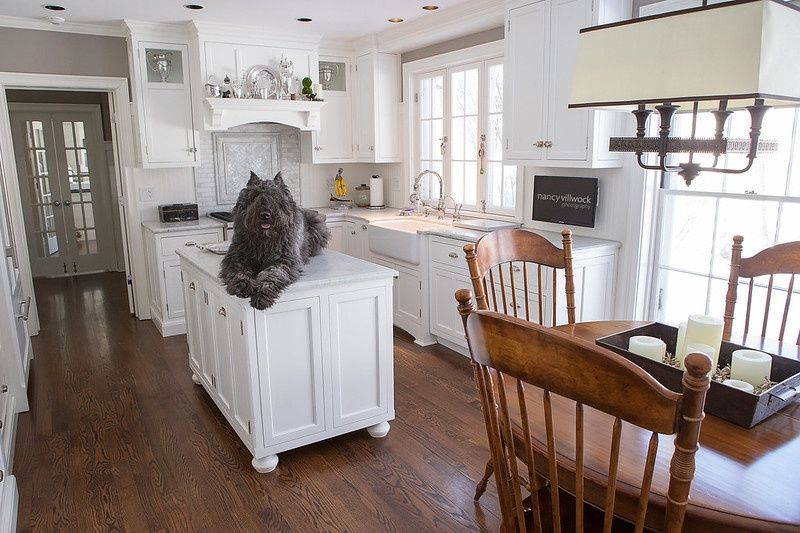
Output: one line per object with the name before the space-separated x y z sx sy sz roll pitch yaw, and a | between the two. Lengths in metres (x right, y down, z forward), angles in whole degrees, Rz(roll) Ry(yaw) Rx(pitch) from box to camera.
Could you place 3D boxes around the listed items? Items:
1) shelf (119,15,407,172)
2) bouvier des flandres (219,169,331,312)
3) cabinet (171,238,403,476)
shelf | -1.380 -1.791 5.375 2.658 1.377 0.571 -7 15 -23
bouvier des flandres | -0.860 -0.231 3.333 0.767 0.690 1.411 2 12 -5
cabinet | -0.885 0.500 3.762 1.053 1.166 1.745 -7 14 -32
